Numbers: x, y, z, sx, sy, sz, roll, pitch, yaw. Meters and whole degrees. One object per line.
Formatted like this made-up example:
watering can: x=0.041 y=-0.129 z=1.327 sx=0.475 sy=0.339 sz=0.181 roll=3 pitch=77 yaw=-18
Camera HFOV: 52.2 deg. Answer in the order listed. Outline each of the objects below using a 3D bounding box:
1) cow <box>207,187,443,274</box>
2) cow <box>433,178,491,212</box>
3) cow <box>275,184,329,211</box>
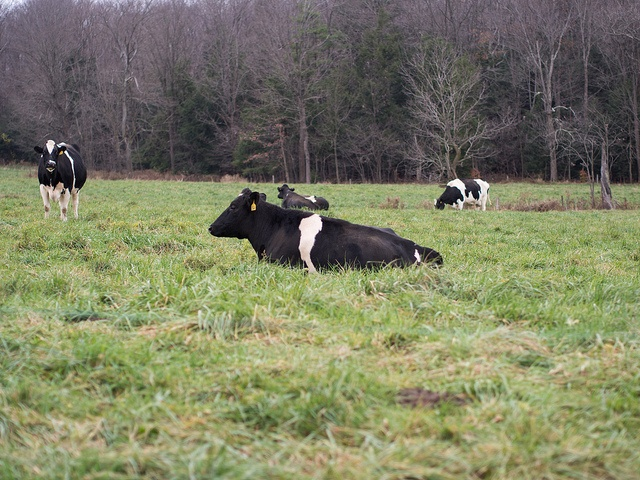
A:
cow: x=-0.114 y=0.292 z=9.789 sx=3.084 sy=1.540 sz=0.841 roll=9 pitch=8 yaw=18
cow: x=5.555 y=-1.755 z=25.436 sx=2.648 sy=1.096 sz=1.204 roll=-6 pitch=11 yaw=-39
cow: x=-0.624 y=-1.220 z=19.057 sx=0.680 sy=0.884 sz=1.550 roll=-11 pitch=23 yaw=-43
